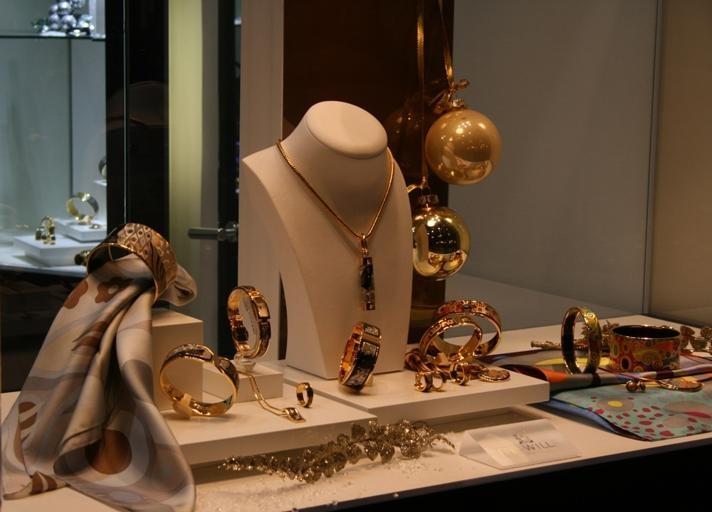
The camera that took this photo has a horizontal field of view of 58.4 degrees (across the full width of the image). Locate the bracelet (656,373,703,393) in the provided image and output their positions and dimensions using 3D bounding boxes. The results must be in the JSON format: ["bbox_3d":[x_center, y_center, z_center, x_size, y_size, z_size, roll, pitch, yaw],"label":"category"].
[{"bbox_3d":[0.755,0.294,1.457,0.141,0.017,0.064,-1,10,-29],"label":"bracelet"}]

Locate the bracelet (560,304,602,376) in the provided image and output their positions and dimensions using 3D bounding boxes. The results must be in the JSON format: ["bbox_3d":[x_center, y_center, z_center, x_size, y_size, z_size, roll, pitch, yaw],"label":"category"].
[{"bbox_3d":[0.551,0.211,1.556,0.035,0.165,0.140,-2,2,-15],"label":"bracelet"}]

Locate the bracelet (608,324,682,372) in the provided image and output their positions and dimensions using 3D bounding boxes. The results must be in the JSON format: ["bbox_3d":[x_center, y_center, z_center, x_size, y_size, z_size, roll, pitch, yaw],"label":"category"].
[{"bbox_3d":[0.708,0.225,1.547,0.172,0.106,0.131,7,9,18],"label":"bracelet"}]

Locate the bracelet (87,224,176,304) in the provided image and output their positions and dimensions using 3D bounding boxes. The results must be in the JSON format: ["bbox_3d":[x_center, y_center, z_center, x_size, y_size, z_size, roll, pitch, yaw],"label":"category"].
[{"bbox_3d":[-0.438,0.004,1.221,0.166,0.135,0.099,8,10,24],"label":"bracelet"}]

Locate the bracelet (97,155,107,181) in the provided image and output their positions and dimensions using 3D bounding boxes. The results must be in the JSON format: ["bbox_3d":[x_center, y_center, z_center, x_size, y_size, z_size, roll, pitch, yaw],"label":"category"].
[{"bbox_3d":[-0.741,-0.255,1.851,0.026,0.064,0.011,6,9,14],"label":"bracelet"}]

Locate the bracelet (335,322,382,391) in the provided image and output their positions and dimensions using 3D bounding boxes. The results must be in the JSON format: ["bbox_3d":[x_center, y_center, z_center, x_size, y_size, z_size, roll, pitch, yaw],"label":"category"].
[{"bbox_3d":[-0.003,0.203,1.319,0.074,0.138,0.140,-1,10,-28],"label":"bracelet"}]

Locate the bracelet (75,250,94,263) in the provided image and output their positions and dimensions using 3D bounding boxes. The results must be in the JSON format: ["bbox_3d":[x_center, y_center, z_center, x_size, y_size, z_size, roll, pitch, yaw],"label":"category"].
[{"bbox_3d":[-0.705,0.000,1.638,0.029,0.037,0.038,4,3,4],"label":"bracelet"}]

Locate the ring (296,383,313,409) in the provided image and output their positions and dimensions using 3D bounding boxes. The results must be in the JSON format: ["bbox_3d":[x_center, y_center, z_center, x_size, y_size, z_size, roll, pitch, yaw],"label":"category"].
[{"bbox_3d":[-0.100,0.268,1.218,0.012,0.038,0.037,-8,-9,-17],"label":"ring"}]

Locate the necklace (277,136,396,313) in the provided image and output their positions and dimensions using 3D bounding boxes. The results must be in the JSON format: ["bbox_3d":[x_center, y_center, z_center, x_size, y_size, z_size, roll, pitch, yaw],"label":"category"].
[{"bbox_3d":[-0.050,-0.071,1.371,0.294,0.502,0.203,-8,9,-36],"label":"necklace"}]

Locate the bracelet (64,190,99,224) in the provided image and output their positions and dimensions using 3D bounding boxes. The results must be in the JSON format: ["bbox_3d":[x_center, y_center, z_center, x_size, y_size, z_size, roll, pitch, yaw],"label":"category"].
[{"bbox_3d":[-0.793,-0.145,1.839,0.085,0.091,0.022,16,22,7],"label":"bracelet"}]

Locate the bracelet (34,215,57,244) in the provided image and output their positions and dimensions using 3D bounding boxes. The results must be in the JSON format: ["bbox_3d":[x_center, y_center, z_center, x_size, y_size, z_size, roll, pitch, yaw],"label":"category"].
[{"bbox_3d":[-0.899,-0.074,1.834,0.056,0.079,0.019,4,8,2],"label":"bracelet"}]

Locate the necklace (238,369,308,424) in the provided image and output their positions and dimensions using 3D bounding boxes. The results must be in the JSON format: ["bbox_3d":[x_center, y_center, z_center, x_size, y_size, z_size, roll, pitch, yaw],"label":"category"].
[{"bbox_3d":[-0.167,0.272,1.228,0.033,0.092,0.229,-3,12,-33],"label":"necklace"}]

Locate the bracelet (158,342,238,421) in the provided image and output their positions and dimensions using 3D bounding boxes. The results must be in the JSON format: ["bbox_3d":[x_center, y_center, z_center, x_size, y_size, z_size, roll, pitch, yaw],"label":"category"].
[{"bbox_3d":[-0.285,0.226,1.149,0.143,0.137,0.055,4,8,0],"label":"bracelet"}]
